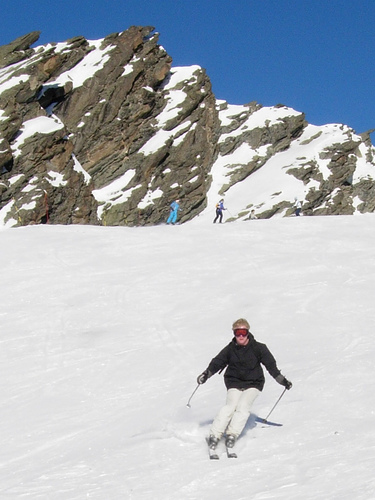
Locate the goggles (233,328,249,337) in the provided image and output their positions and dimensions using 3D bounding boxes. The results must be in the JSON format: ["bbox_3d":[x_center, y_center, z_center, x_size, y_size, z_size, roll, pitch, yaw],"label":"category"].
[{"bbox_3d":[0.713,1.111,10.618,0.189,0.138,0.166,-8,7,4],"label":"goggles"}]

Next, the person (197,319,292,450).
[{"bbox_3d":[0.668,1.793,10.596,1.237,1.660,0.608,-12,8,-21],"label":"person"}]
